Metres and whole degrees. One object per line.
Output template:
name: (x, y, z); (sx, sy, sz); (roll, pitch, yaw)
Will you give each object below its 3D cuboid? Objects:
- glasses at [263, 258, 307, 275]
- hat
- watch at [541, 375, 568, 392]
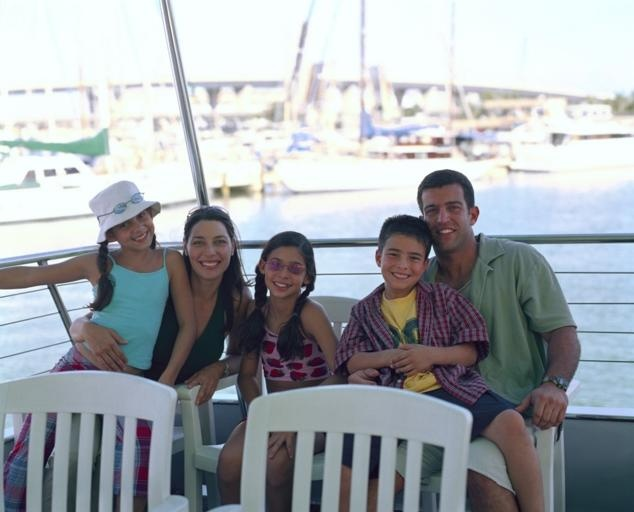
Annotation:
glasses: (-0.107, 0.036, 2.478); (0.141, 0.059, 0.039); (-1, 8, -4)
hat: (-0.713, -0.179, 2.568); (0.257, 0.147, 0.207); (-31, 3, -10)
watch: (0.753, 0.399, 2.171); (0.076, 0.046, 0.061); (2, 8, 20)
